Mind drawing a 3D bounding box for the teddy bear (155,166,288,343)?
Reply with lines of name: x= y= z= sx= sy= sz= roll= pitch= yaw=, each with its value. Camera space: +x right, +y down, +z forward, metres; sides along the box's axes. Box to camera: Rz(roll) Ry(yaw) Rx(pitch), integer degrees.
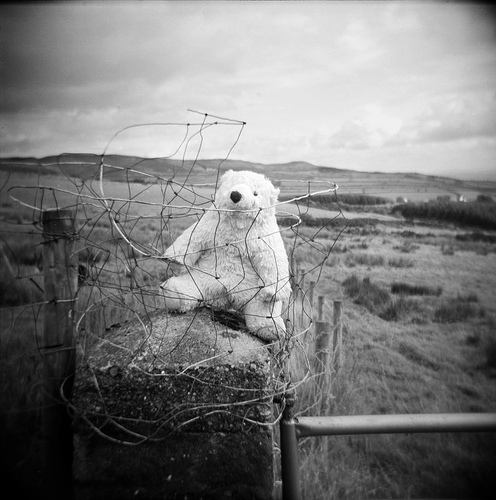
teddy bear: x=-0.095 y=-0.008 z=2.749 sx=0.726 sy=1.076 sz=0.630 roll=10 pitch=-11 yaw=5
